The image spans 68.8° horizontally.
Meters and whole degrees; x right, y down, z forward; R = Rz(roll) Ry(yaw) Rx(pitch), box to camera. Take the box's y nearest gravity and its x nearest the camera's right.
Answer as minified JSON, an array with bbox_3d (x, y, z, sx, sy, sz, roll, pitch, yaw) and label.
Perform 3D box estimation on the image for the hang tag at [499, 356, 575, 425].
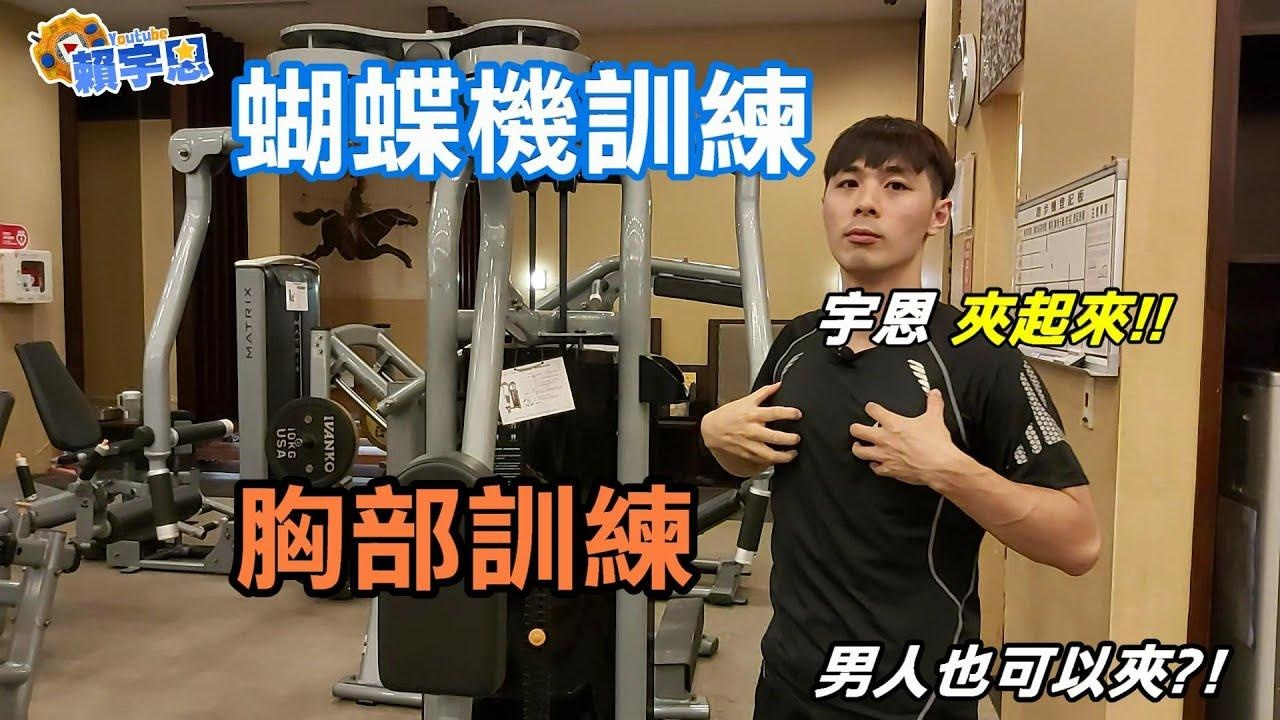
[{"bbox_3d":[-0.490,0.144,4.188,0.402,0.269,0.119,-22,6,-41],"label":"hang tag"}]

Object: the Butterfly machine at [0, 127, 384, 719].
[{"bbox_3d":[-1.991,0.363,5.290,1.232,2.957,2.298,1,-1,-22],"label":"Butterfly machine"}]
